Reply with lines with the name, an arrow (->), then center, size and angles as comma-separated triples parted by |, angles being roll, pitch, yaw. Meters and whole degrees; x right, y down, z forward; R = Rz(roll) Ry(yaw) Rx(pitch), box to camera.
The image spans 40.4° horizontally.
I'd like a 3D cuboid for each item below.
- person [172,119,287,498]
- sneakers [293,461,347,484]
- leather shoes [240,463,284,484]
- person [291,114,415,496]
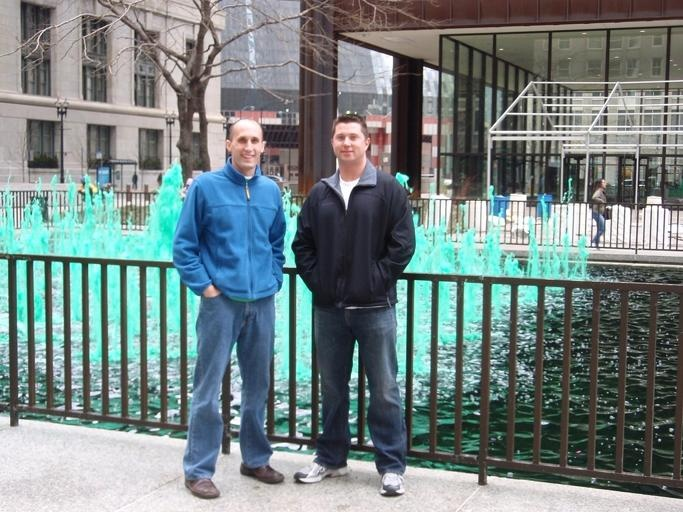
person -> -0.937, 0.410, 7.858 | 0.967, 3.118, 0.500 | -1, 4, -11
sneakers -> -0.192, 1.851, 8.062 | 0.483, 0.200, 0.164 | 1, 0, -18
leather shoes -> -0.686, 1.855, 8.022 | 0.367, 0.155, 0.147 | 5, 6, 20
person -> 0.106, 0.392, 7.847 | 1.001, 3.151, 0.422 | 0, 4, 5
